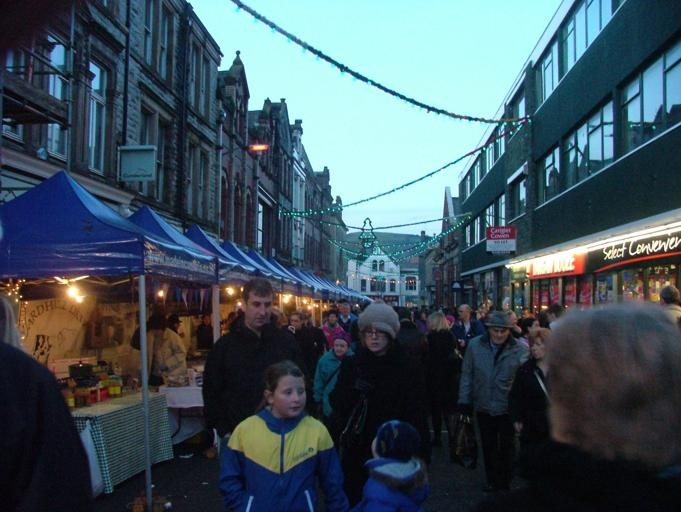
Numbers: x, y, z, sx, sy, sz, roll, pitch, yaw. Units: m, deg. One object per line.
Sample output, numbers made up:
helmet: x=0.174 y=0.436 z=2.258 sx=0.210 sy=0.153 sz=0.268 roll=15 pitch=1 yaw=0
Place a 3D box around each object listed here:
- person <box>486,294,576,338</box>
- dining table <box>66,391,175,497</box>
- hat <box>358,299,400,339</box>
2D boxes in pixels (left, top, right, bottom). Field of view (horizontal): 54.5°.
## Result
person: x=3.184 y=0.927 z=10.968 sx=0.729 sy=1.024 sz=1.344 roll=7 pitch=-10 yaw=-41
dining table: x=-2.468 y=2.163 z=7.667 sx=0.497 sy=0.850 sz=1.344 roll=-10 pitch=-3 yaw=17
hat: x=0.307 y=0.485 z=5.001 sx=0.214 sy=0.237 sz=0.297 roll=5 pitch=-31 yaw=28
